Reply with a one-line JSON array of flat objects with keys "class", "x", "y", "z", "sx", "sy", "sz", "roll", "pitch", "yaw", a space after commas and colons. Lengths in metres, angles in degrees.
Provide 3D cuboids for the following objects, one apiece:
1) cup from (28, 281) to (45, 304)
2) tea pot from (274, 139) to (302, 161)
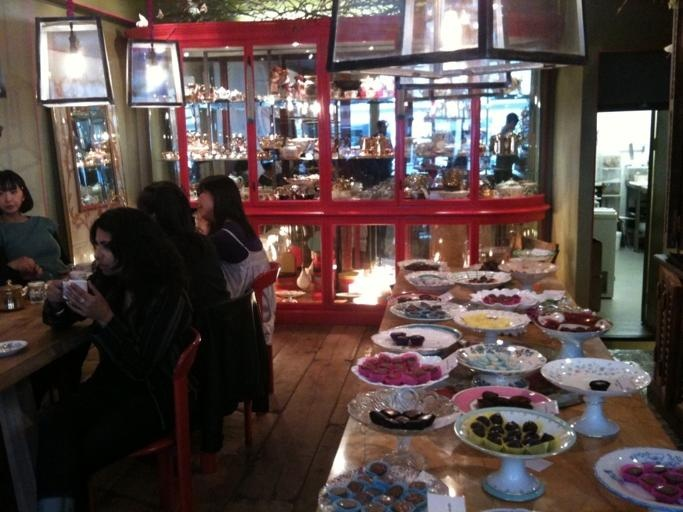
[{"class": "cup", "x": -1.689, "y": 0.202, "z": 3.044, "sx": 0.111, "sy": 0.114, "sz": 0.107, "roll": 1, "pitch": -1, "yaw": 0}, {"class": "tea pot", "x": -0.507, "y": -1.019, "z": 5.248, "sx": 0.207, "sy": 0.187, "sz": 0.200, "roll": 0, "pitch": 0, "yaw": 0}]
